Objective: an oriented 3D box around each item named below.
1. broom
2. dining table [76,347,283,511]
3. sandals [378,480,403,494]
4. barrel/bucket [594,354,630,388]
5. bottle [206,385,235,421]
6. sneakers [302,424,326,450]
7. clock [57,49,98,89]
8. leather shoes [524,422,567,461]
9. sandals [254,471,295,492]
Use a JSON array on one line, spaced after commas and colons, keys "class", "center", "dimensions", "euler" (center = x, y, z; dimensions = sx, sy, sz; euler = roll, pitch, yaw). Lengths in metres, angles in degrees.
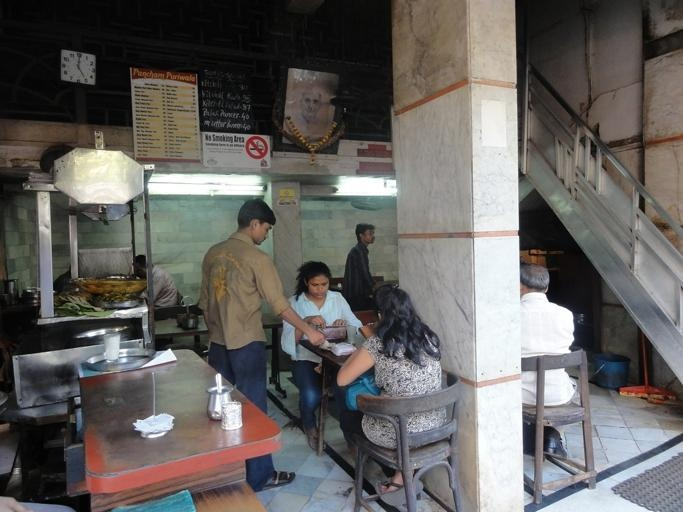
[{"class": "broom", "center": [3.402, 1.249, 6.215], "dimensions": [0.669, 0.847, 0.671], "euler": [1, -11, 4]}, {"class": "dining table", "center": [-1.053, 1.061, 3.378], "dimensions": [0.795, 0.424, 1.288], "euler": [-4, 10, -27]}, {"class": "sandals", "center": [0.379, 1.819, 4.372], "dimensions": [0.177, 0.059, 0.097], "euler": [0, 4, -10]}, {"class": "barrel/bucket", "center": [3.096, 1.311, 6.484], "dimensions": [0.379, 0.283, 0.383], "euler": [1, 1, 0]}, {"class": "bottle", "center": [-0.768, 0.926, 3.517], "dimensions": [0.173, 0.182, 0.184], "euler": [1, -5, 11]}, {"class": "sneakers", "center": [-0.249, 1.683, 5.144], "dimensions": [0.109, 0.306, 0.112], "euler": [-24, -7, 42]}, {"class": "clock", "center": [-2.803, -2.014, 5.912], "dimensions": [0.333, 0.341, 0.218], "euler": [-2, 14, -16]}, {"class": "leather shoes", "center": [1.873, 1.690, 5.103], "dimensions": [0.202, 0.238, 0.566], "euler": [-1, -16, 34]}, {"class": "sandals", "center": [-0.555, 1.883, 4.665], "dimensions": [0.286, 0.077, 0.116], "euler": [-11, 13, -31]}]
